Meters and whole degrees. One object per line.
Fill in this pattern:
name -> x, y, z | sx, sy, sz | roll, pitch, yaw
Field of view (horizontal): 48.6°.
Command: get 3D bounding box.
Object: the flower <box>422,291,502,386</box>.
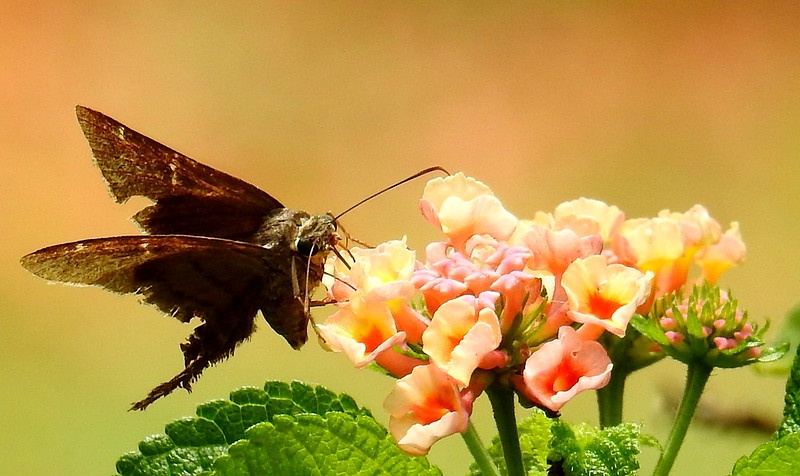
flower -> 0.138, 0.226, 2.005 | 0.172, 0.186, 0.095 | 11, -36, 4

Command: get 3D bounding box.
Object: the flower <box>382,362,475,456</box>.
flower -> 0.071, 0.390, 2.046 | 0.203, 0.205, 0.087 | -42, -14, 9
